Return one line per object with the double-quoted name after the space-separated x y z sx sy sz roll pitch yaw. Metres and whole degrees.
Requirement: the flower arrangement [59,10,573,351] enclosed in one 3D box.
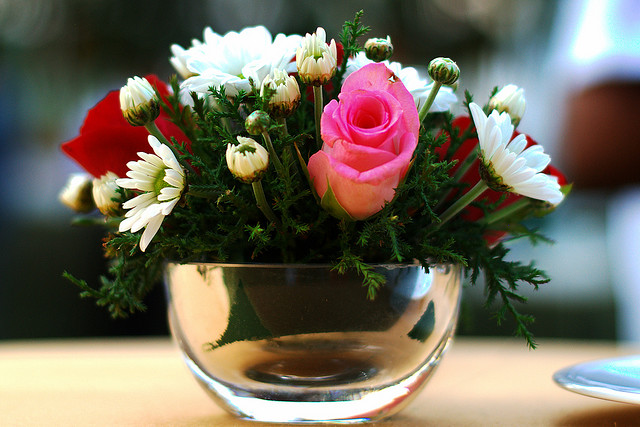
-0.003 -0.040 0.629 0.417 0.244 0.423 17 8 14 "flower arrangement"
